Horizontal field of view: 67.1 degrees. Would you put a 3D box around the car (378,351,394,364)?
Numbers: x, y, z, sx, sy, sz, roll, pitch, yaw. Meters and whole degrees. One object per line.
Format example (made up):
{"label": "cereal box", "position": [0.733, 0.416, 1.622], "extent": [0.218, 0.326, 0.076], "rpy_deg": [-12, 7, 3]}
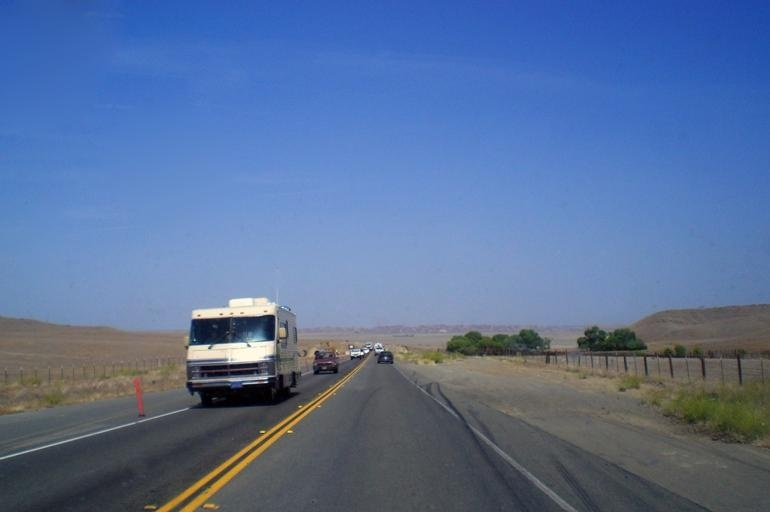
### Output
{"label": "car", "position": [0.079, 12.017, 68.046], "extent": [1.666, 1.375, 1.691], "rpy_deg": [-4, -10, 5]}

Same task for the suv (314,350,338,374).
{"label": "suv", "position": [-5.217, 9.298, 50.723], "extent": [2.071, 1.909, 3.016], "rpy_deg": [-2, -10, -8]}
